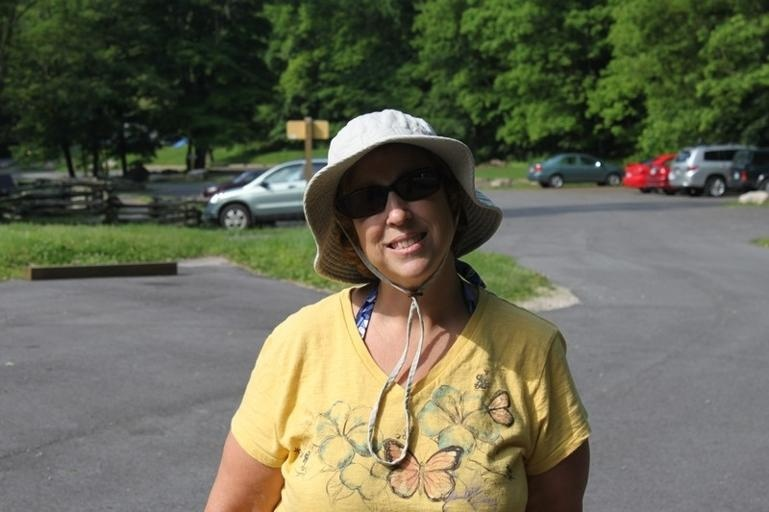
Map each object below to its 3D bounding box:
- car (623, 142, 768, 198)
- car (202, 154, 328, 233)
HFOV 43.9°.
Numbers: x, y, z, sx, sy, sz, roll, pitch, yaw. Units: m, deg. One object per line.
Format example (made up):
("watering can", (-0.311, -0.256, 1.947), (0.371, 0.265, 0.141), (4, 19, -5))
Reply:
("car", (6.938, -1.937, 21.010), (2.266, 0.904, 1.482), (-2, 2, -19))
("car", (-2.842, -1.472, 22.403), (2.865, 1.622, 1.681), (-1, 1, -14))
